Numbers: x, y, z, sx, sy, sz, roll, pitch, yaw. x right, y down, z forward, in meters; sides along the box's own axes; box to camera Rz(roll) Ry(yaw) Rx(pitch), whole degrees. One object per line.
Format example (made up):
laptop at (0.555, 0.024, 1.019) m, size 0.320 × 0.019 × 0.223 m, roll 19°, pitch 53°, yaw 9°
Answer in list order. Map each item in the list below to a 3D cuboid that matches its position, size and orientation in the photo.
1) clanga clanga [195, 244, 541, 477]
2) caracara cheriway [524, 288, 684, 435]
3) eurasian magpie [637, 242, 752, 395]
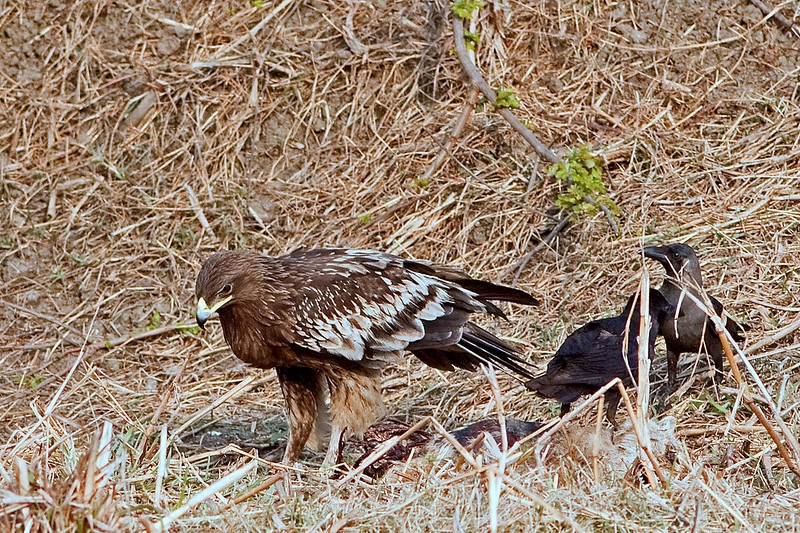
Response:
clanga clanga at (0.253, 0.425, 7.079) m, size 3.224 × 1.059 × 1.582 m, roll -3°, pitch 80°, yaw -15°
caracara cheriway at (1.354, 0.597, 6.771) m, size 0.826 × 0.808 × 0.877 m, roll 0°, pitch 87°, yaw 21°
eurasian magpie at (2.104, 0.315, 7.114) m, size 1.215 × 0.988 × 0.576 m, roll -12°, pitch 12°, yaw -42°
